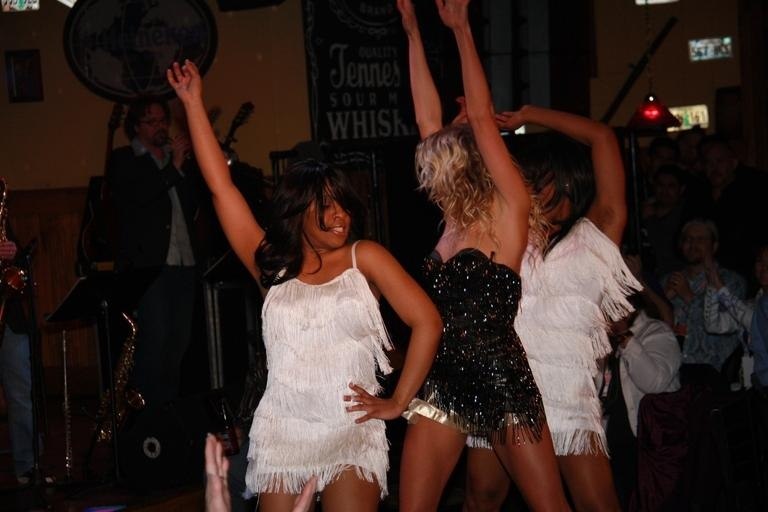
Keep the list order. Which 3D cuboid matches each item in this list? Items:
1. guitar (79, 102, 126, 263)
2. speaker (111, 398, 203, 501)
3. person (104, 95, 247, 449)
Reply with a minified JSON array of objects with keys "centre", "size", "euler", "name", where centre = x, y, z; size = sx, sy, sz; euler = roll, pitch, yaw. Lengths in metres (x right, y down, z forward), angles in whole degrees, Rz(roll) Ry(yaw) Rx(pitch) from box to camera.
[{"centre":[-2.630,-0.674,6.471],"size":[0.371,1.665,0.525],"euler":[1,-1,-18],"name":"guitar"},{"centre":[-1.724,1.485,5.360],"size":[0.696,0.657,0.231],"euler":[-7,6,10],"name":"speaker"},{"centre":[-1.952,0.089,6.534],"size":[1.023,3.143,0.731],"euler":[-4,7,-28],"name":"person"}]
